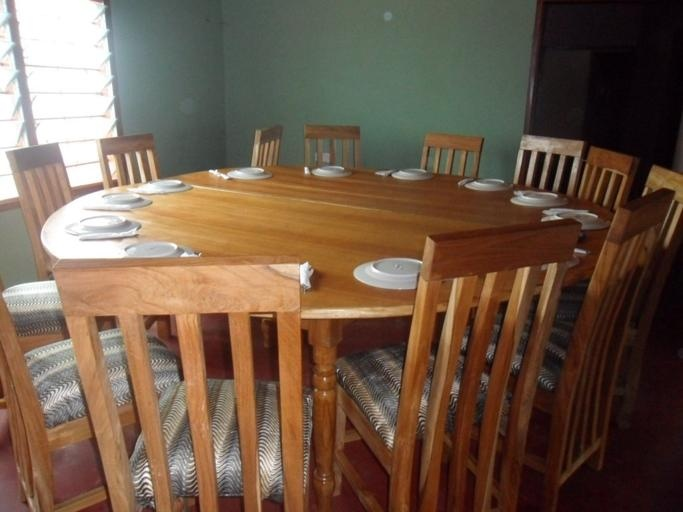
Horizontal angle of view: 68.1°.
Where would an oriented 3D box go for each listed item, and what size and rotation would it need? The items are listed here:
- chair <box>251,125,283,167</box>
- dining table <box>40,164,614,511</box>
[{"bbox_3d":[-0.450,-0.668,3.124,0.164,0.243,0.510,-1,19,-5],"label":"chair"},{"bbox_3d":[-0.127,0.440,2.152,1.590,0.753,1.537,-5,25,-12],"label":"dining table"}]
